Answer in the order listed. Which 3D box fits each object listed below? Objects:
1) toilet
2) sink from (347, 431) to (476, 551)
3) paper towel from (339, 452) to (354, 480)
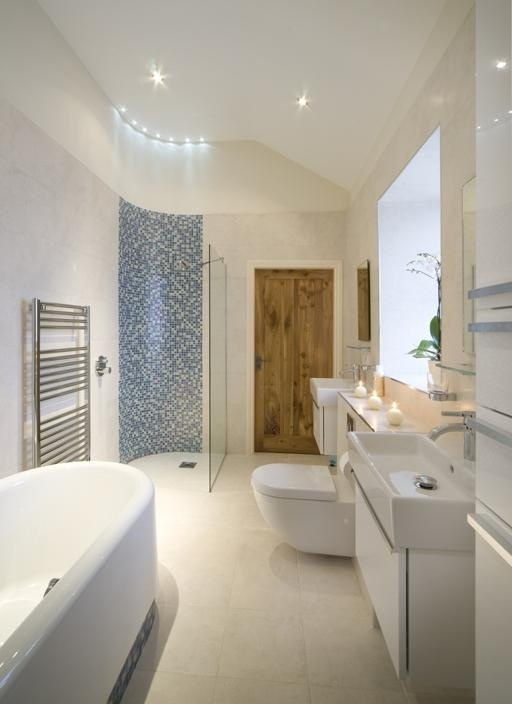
[{"bbox_3d":[0.265,0.911,2.477,0.490,0.507,0.473,4,0,3],"label":"toilet"},{"bbox_3d":[0.496,0.433,1.519,0.287,0.194,0.645,0,4,4],"label":"sink"},{"bbox_3d":[0.455,0.555,2.291,0.095,0.063,0.141,-1,16,6],"label":"paper towel"}]
